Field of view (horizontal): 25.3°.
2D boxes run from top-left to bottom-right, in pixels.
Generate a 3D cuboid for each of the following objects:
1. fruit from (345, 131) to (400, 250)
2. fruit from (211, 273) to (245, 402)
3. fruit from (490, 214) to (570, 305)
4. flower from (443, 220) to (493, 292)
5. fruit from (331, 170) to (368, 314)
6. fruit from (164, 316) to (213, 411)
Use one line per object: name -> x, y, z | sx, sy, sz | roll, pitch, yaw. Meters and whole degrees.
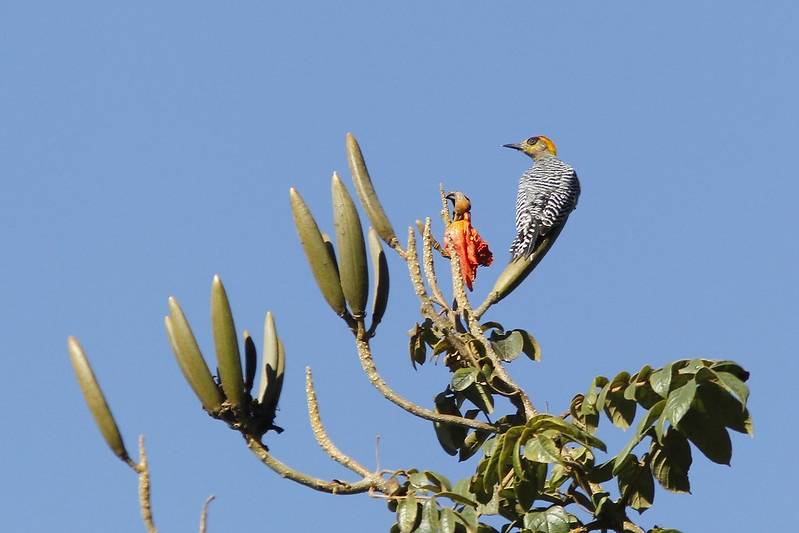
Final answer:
fruit -> -0.216, -0.360, 10.612 | 0.119, 0.896, 0.182 | -16, -4, -22
fruit -> -1.052, 0.470, 10.706 | 0.105, 0.874, 0.134 | -5, -7, -34
fruit -> 0.813, -0.089, 11.487 | 0.189, 0.684, 0.157 | 43, -26, -11
flower -> 0.454, -0.117, 12.355 | 0.373, 0.533, 0.117 | 7, -10, -39
fruit -> -0.340, -0.167, 11.873 | 0.250, 0.958, 0.197 | 2, -7, -3
fruit -> -1.366, 0.628, 11.694 | 0.356, 0.624, 0.235 | 2, -8, -7
